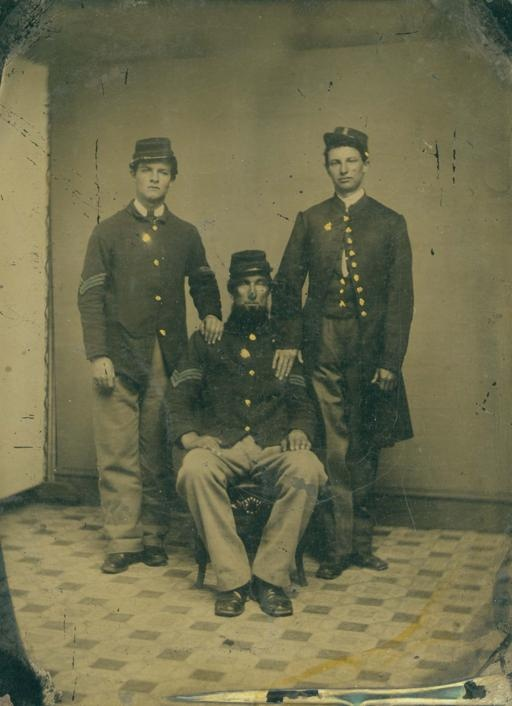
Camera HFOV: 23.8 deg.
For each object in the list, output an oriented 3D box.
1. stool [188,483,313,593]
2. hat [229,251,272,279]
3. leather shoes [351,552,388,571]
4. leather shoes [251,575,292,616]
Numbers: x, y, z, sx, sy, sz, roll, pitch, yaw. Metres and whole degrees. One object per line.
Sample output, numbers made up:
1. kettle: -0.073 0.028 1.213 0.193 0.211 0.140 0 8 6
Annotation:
1. stool: -0.028 0.637 4.198 0.461 0.356 0.129 2 3 -1
2. hat: -0.029 -0.308 4.217 0.108 0.059 0.111 -1 -1 -2
3. leather shoes: 0.392 0.723 4.225 0.140 0.044 0.059 4 -1 15
4. leather shoes: 0.054 0.836 4.217 0.083 0.103 0.162 4 8 -16
